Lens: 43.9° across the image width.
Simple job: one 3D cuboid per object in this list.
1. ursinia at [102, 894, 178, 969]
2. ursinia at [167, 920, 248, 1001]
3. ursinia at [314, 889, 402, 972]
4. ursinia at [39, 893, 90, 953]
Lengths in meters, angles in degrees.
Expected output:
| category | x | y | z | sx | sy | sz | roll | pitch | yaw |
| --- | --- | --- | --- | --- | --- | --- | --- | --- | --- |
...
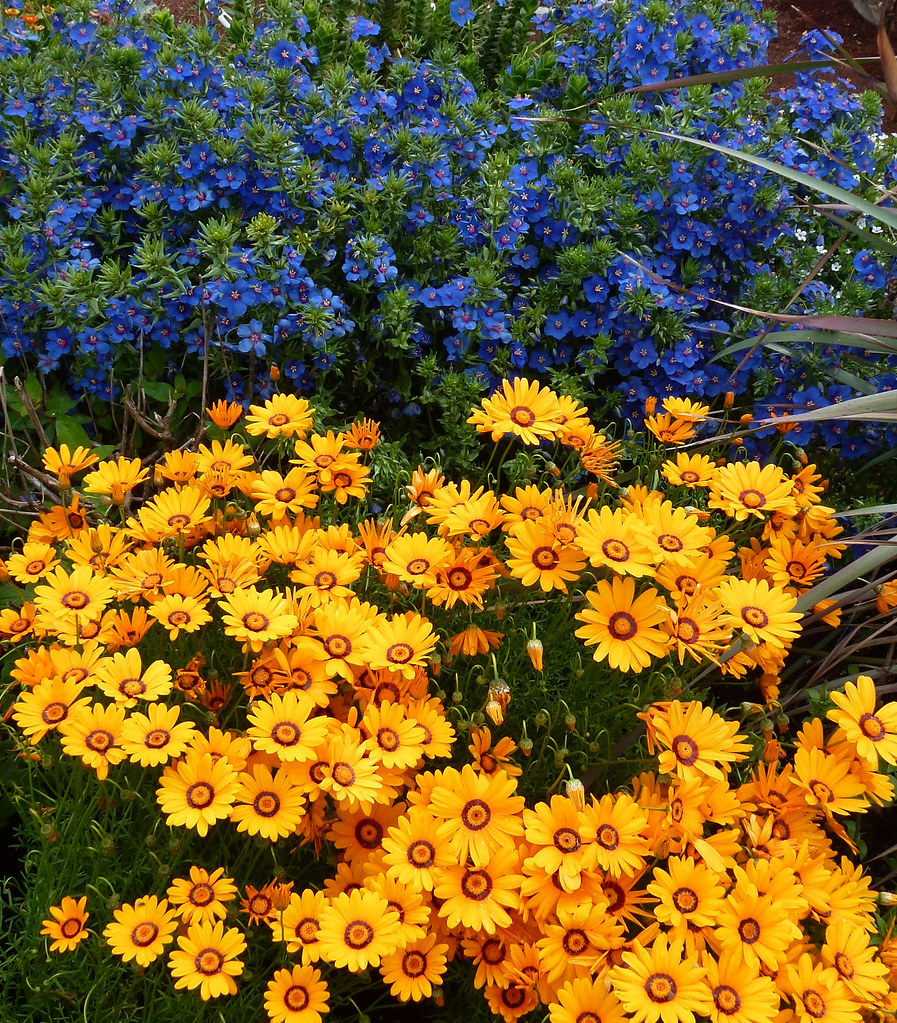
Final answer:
| category | x | y | z | sx | sy | sz | roll | pitch | yaw |
| --- | --- | --- | --- | --- | --- | --- | --- | --- | --- |
| ursinia | -0.505 | 0.694 | 1.846 | 0.133 | 0.045 | 0.125 | 5 | 24 | 11 |
| ursinia | -0.388 | 0.719 | 1.803 | 0.132 | 0.045 | 0.123 | -12 | 22 | -36 |
| ursinia | -0.147 | 0.673 | 1.794 | 0.126 | 0.051 | 0.125 | -17 | 68 | -9 |
| ursinia | -0.660 | 0.711 | 1.917 | 0.076 | 0.088 | 0.089 | -19 | 49 | -32 |
